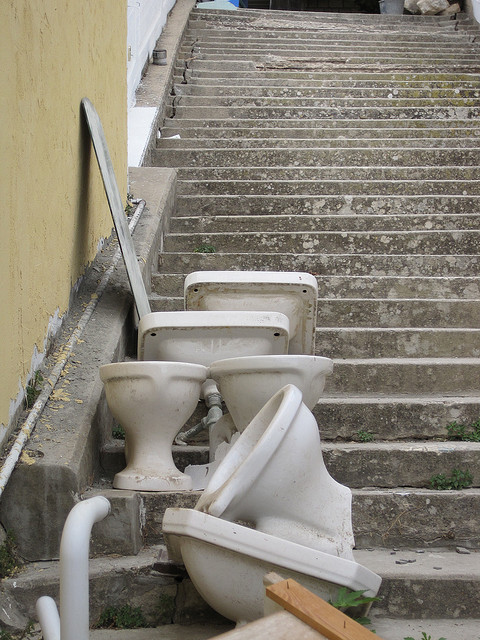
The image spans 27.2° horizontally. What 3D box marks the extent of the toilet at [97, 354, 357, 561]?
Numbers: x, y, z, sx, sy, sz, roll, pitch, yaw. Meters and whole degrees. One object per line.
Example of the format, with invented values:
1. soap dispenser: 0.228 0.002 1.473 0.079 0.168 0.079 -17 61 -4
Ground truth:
1. toilet: -0.169 0.371 3.292 0.777 0.538 0.443 2 5 1

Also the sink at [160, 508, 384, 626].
1. sink: 0.078 0.649 2.612 0.442 0.192 0.350 22 -17 -5

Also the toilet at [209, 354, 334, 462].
1. toilet: 0.095 0.297 3.228 0.378 0.326 0.349 0 -8 12

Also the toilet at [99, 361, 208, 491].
1. toilet: -0.306 0.365 3.362 0.362 0.425 0.366 4 -4 -28

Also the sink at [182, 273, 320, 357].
1. sink: 0.050 -0.022 3.464 0.328 0.383 0.089 2 21 0
